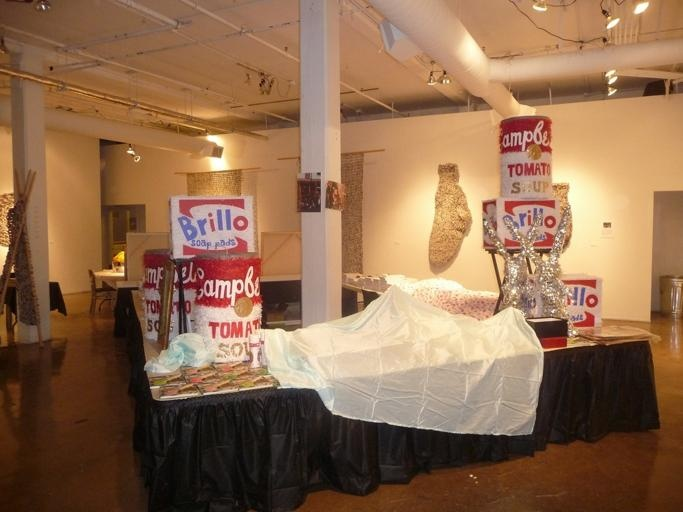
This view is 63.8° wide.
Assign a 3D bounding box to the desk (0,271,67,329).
[{"bbox_3d":[-4.851,0.712,8.604,0.875,0.538,0.882,1,-4,-35],"label":"desk"}]
